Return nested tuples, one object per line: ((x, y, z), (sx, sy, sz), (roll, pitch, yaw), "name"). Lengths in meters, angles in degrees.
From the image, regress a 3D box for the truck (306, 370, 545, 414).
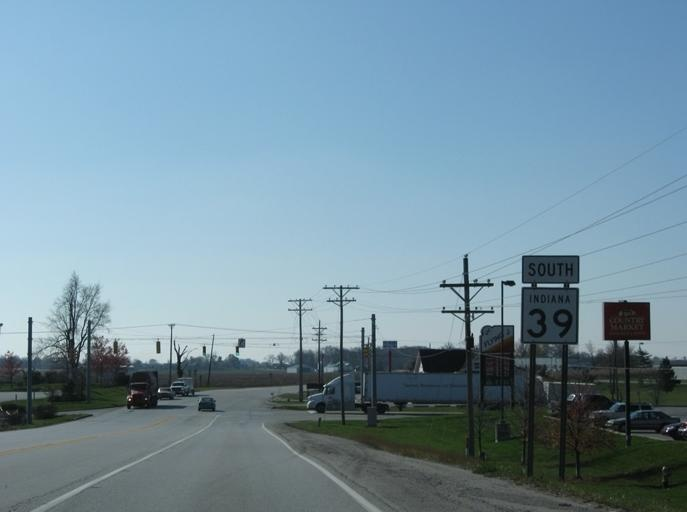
((6.671, 12.957, 80.633), (19.902, 3.884, 4.532), (-4, -12, 11), "truck")

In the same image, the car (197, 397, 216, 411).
((-13.528, 14.701, 83.318), (1.679, 1.292, 2.127), (1, -12, -9), "car")

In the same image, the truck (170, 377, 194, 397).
((-22.981, 18.451, 118.840), (1.681, 2.127, 3.768), (-1, -14, 2), "truck")

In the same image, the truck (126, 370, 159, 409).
((-21.775, 14.570, 90.976), (1.857, 2.804, 6.377), (0, -12, -4), "truck")
